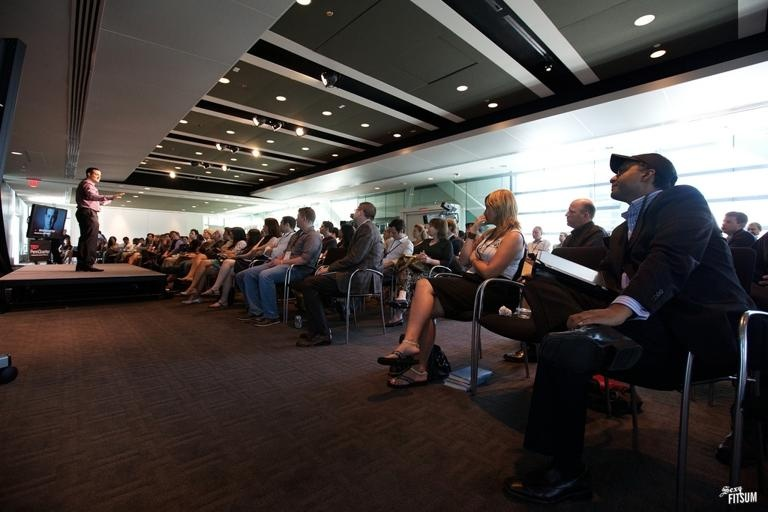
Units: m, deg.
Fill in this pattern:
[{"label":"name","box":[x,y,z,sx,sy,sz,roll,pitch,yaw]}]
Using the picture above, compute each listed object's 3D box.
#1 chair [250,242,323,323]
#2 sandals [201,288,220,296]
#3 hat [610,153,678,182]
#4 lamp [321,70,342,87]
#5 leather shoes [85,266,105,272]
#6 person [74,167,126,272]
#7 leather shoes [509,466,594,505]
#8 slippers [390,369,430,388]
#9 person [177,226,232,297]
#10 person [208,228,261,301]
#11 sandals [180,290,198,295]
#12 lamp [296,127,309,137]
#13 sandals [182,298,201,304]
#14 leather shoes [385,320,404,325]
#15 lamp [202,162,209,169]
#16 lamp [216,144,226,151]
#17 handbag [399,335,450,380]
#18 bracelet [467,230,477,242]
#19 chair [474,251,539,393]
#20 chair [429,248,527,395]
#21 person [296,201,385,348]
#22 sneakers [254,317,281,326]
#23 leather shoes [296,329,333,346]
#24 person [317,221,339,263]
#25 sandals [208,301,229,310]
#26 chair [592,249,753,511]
[{"label":"chair","box":[-1.334,0.200,5.613,0.918,1.249,0.918,3,2,39]},{"label":"sandals","box":[-2.815,0.599,7.097,0.192,0.122,0.436,-1,-3,11]},{"label":"hat","box":[1.648,-0.576,2.726,0.349,0.163,0.228,27,12,19]},{"label":"lamp","box":[-0.878,-2.913,7.013,0.251,0.214,0.191,5,5,-26]},{"label":"leather shoes","box":[-4.846,0.224,7.182,0.321,0.123,0.105,4,-4,-38]},{"label":"person","box":[-4.876,-0.592,7.198,0.726,1.745,0.945,-8,17,-27]},{"label":"leather shoes","box":[0.908,1.264,2.340,0.453,0.164,0.197,1,-12,3]},{"label":"slippers","box":[0.202,0.988,3.404,0.290,0.114,0.126,7,-17,-19]},{"label":"person","box":[-2.980,0.053,7.437,0.766,1.153,0.398,-7,23,-15]},{"label":"person","box":[-2.376,0.152,6.800,0.828,1.300,0.437,3,-24,-17]},{"label":"sandals","box":[-3.419,0.647,7.559,0.397,0.100,0.168,1,1,30]},{"label":"lamp","box":[-1.857,-2.820,9.604,0.157,0.063,0.200,10,-14,-17]},{"label":"sandals","box":[-3.084,0.740,6.896,0.206,0.069,0.108,9,-13,-39]},{"label":"leather shoes","box":[0.137,0.877,5.558,0.157,0.057,0.082,11,-14,-24]},{"label":"lamp","box":[-5.460,-2.791,13.141,0.109,0.105,0.105,29,26,27]},{"label":"lamp","box":[-4.199,-2.806,11.000,0.130,0.161,0.161,16,25,35]},{"label":"handbag","box":[0.370,0.901,3.554,0.220,0.242,0.658,-5,-15,22]},{"label":"bracelet","box":[0.758,-0.175,3.702,0.069,0.052,0.071,3,-2,42]},{"label":"chair","box":[0.924,0.534,3.340,0.578,0.838,0.563,2,4,23]},{"label":"chair","box":[0.623,0.666,3.744,0.955,0.896,0.737,-10,-9,39]},{"label":"person","box":[-0.453,0.166,4.725,0.976,1.577,0.654,0,-8,-7]},{"label":"sneakers","box":[-1.466,0.833,5.370,0.277,0.093,0.103,11,-16,-40]},{"label":"leather shoes","box":[-0.724,0.861,4.406,0.343,0.144,0.176,-1,14,-5]},{"label":"person","box":[-0.904,-0.226,6.930,0.325,0.376,0.935,22,22,-12]},{"label":"sandals","box":[-2.525,0.742,6.509,0.270,0.108,0.170,-4,15,-15]},{"label":"chair","box":[1.678,0.821,2.377,0.532,1.073,0.581,9,17,30]}]
